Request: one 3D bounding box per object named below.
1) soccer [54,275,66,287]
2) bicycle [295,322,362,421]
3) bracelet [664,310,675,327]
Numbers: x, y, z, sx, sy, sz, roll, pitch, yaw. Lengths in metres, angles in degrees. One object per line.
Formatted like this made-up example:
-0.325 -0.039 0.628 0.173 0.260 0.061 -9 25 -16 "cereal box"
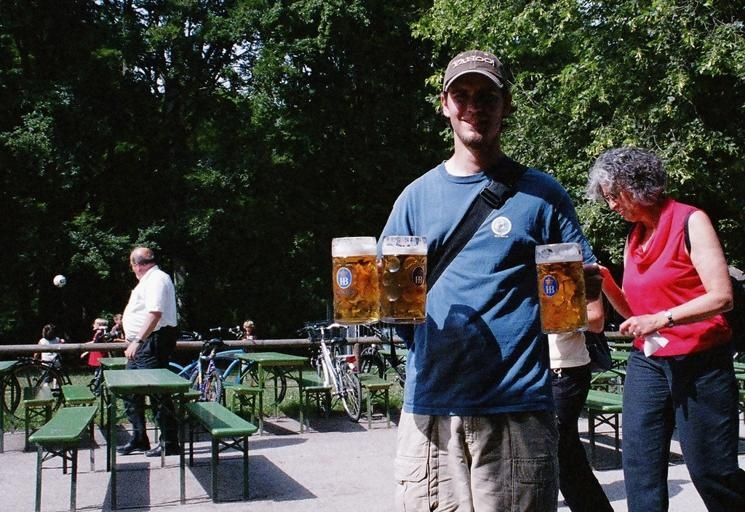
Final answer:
-9.783 0.851 25.222 0.439 0.443 0.236 7 16 -16 "soccer"
-0.829 1.871 13.790 0.961 1.260 2.067 -18 10 -15 "bicycle"
2.419 0.530 6.612 0.073 0.108 0.113 3 1 10 "bracelet"
